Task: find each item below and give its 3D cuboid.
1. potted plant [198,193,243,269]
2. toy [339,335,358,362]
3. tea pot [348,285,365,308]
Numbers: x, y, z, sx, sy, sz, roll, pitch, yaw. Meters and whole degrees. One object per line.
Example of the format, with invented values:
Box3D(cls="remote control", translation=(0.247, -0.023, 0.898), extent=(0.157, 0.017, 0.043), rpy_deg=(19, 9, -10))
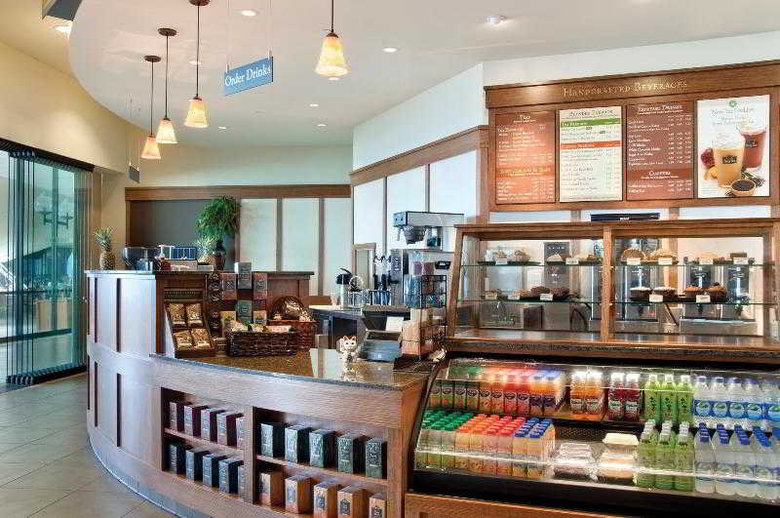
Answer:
Box3D(cls="potted plant", translation=(-3.156, -0.514, 10.789), extent=(0.774, 1.348, 0.529), rpy_deg=(0, 0, -14))
Box3D(cls="toy", translation=(-0.343, 0.737, 4.839), extent=(0.149, 0.172, 0.252), rpy_deg=(0, 0, -6))
Box3D(cls="tea pot", translation=(-0.499, 0.557, 8.632), extent=(0.320, 0.342, 0.294), rpy_deg=(1, 2, 0))
